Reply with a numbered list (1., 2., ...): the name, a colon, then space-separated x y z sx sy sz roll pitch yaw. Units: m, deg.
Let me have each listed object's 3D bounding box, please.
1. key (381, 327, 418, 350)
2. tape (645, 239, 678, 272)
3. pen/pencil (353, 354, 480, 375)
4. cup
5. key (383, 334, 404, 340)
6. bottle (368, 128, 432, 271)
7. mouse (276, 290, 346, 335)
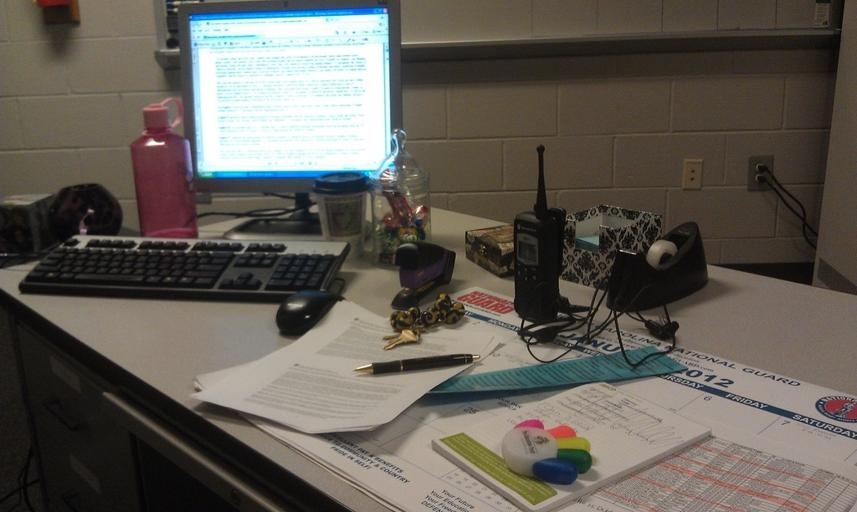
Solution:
1. key: -0.061 0.174 1.442 0.064 0.016 0.038 -13 35 -15
2. tape: 0.535 -0.002 1.527 0.061 0.053 0.020 -29 27 -25
3. pen/pencil: -0.024 0.219 1.374 0.263 0.022 0.028 -5 20 -5
4. cup: -0.245 -0.113 1.880 0.172 0.212 0.162 -2 12 0
5. key: -0.077 0.173 1.455 0.012 0.011 0.048 -6 7 43
6. bottle: -0.072 -0.155 1.804 0.154 0.302 0.166 -1 12 0
7. mouse: -0.248 0.104 1.556 0.212 0.081 0.178 -1 15 -5
